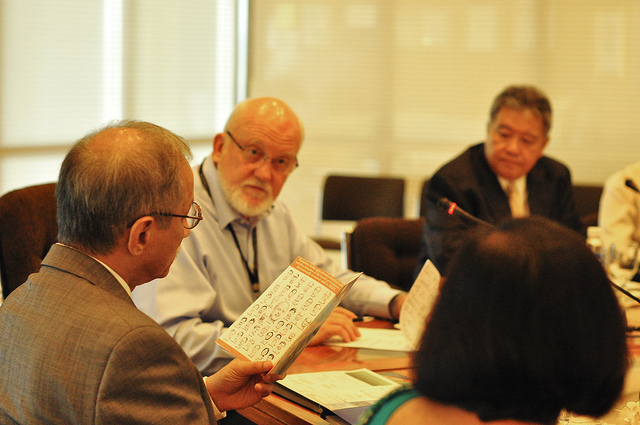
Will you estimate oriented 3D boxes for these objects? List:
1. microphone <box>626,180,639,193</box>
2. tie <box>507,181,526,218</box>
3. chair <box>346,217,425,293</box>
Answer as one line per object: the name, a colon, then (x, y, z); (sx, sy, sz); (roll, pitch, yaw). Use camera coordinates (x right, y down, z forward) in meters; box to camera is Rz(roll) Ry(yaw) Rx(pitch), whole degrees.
microphone: (1.857, -0.161, 3.459); (0.093, 0.025, 0.030); (40, 34, 4)
tie: (0.854, -0.058, 2.530); (0.042, 0.208, 0.034); (-13, -28, 6)
chair: (0.297, 0.215, 2.962); (0.333, 0.469, 0.376); (7, -3, -8)
